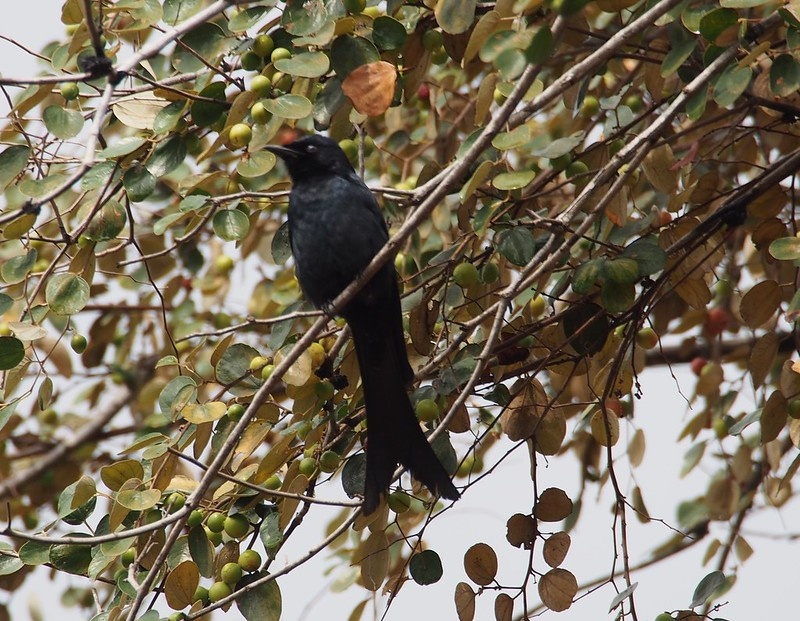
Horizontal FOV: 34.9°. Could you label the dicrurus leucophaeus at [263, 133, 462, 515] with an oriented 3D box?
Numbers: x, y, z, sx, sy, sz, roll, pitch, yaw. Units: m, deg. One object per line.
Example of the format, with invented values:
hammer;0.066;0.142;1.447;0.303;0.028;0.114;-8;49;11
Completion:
dicrurus leucophaeus;-0.157;0.009;5.439;0.568;0.658;1.943;-18;-97;22
